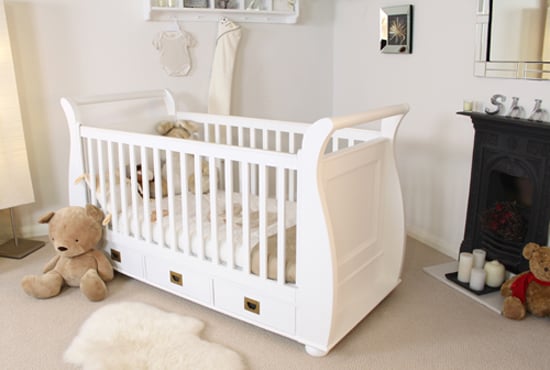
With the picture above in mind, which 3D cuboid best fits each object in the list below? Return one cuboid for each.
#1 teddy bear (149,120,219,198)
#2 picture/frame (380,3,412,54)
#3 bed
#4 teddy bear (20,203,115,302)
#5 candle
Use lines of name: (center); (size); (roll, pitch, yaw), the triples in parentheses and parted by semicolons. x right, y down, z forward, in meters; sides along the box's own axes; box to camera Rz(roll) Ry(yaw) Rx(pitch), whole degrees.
teddy bear: (-0.675, -0.197, 3.410); (0.628, 0.615, 0.173); (0, -9, 35)
picture/frame: (1.024, -1.312, 3.501); (0.034, 0.500, 0.414); (-9, 13, -35)
bed: (-0.384, 0.008, 3.167); (2.272, 1.464, 1.249); (13, 20, 30)
teddy bear: (-1.438, 0.469, 2.984); (0.591, 0.596, 0.501); (2, 13, 8)
candle: (1.455, 0.587, 2.994); (0.300, 0.188, 0.258); (-6, 16, -19)
